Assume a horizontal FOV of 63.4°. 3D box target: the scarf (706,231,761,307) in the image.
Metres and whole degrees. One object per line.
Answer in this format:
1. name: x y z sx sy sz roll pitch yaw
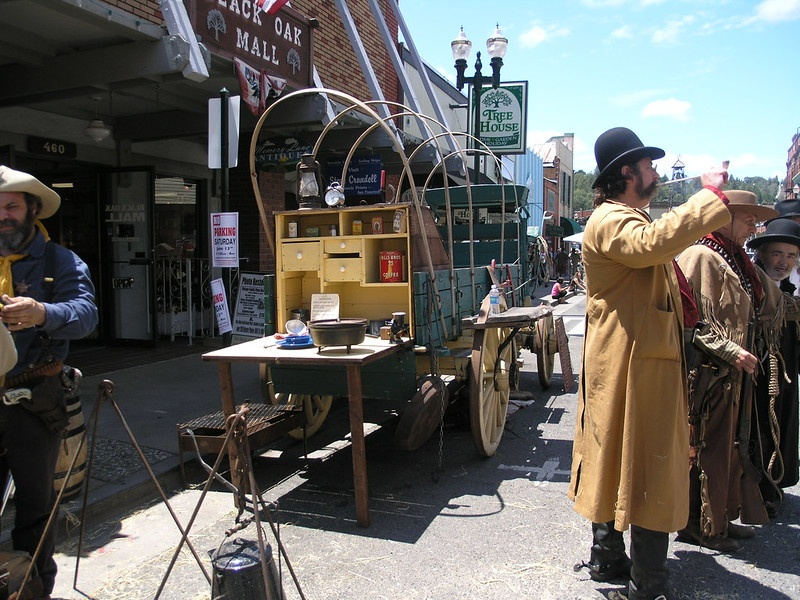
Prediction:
1. scarf: 2.442 -0.268 4.663 0.138 0.545 0.409 -38 21 28

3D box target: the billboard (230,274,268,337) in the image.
1. billboard: -1.909 0.048 8.252 0.640 0.795 0.027 5 2 37

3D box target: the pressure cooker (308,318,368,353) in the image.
1. pressure cooker: -0.469 0.247 4.920 0.271 0.184 0.288 -1 2 29
